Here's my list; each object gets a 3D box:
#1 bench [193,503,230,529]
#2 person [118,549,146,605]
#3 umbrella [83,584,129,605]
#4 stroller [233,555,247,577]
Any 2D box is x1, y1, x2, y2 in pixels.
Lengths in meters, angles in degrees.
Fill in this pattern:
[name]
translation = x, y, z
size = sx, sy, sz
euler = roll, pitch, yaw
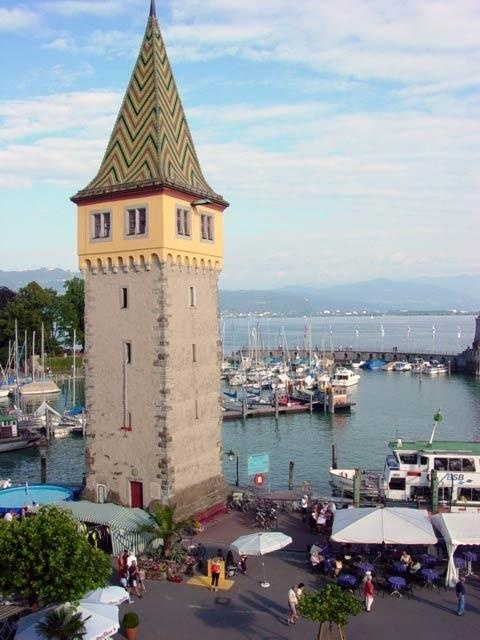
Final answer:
[bench]
translation = -1.455, 9.364, 35.560
size = 0.497, 0.546, 2.546
euler = -24, -5, 18
[person]
translation = -4.043, 9.427, 27.431
size = 0.686, 1.482, 0.936
euler = -1, 2, 16
[umbrella]
translation = -4.155, 8.761, 23.453
size = 0.916, 0.402, 0.913
euler = -3, 3, -44
[stroller]
translation = 0.015, 9.848, 29.463
size = 0.446, 0.669, 0.994
euler = -10, 16, 1
